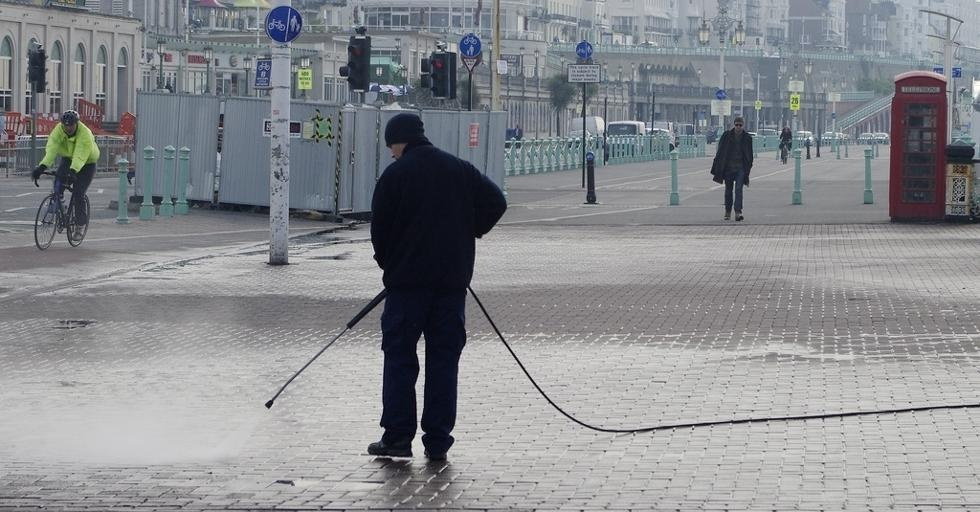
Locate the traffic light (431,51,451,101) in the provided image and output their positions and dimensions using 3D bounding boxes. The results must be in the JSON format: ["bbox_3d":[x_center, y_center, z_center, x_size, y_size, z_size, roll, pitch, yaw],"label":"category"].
[{"bbox_3d":[-1.383,-5.278,37.214,0.707,1.376,0.991,-1,14,-3],"label":"traffic light"}]

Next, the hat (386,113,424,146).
[{"bbox_3d":[-0.968,-1.384,14.161,0.332,0.310,0.410,0,-11,-9],"label":"hat"}]

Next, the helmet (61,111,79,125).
[{"bbox_3d":[-7.924,-2.619,24.157,0.287,0.189,0.372,1,5,-9],"label":"helmet"}]

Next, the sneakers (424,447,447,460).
[{"bbox_3d":[-0.601,2.151,13.910,0.246,0.087,0.106,1,-12,41],"label":"sneakers"}]

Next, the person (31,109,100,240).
[{"bbox_3d":[-8.024,-1.544,24.415,1.073,2.436,1.234,1,14,3],"label":"person"}]

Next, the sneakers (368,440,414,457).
[{"bbox_3d":[-1.085,2.099,13.936,0.438,0.186,0.195,5,4,13],"label":"sneakers"}]

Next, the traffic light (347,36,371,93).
[{"bbox_3d":[-3.277,-4.746,31.827,0.511,1.386,1.260,-2,14,-9],"label":"traffic light"}]
